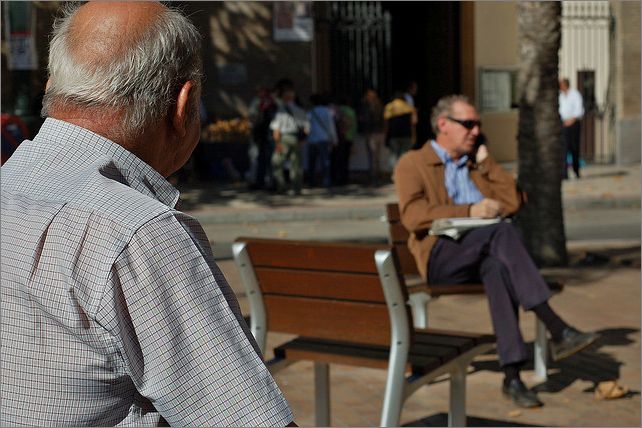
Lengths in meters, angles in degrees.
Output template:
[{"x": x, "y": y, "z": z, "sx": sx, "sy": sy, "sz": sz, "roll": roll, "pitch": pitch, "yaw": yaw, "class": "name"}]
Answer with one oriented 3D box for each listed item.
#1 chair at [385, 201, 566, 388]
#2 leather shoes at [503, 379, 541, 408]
[{"x": 1.172, "y": 0.555, "z": 7.769, "sx": 1.268, "sy": 1.777, "sz": 1.161, "roll": -2, "pitch": 2, "yaw": 7, "class": "chair"}, {"x": 1.318, "y": 1.196, "z": 6.813, "sx": 0.275, "sy": 0.134, "sz": 0.136, "roll": 25, "pitch": 12, "yaw": 13, "class": "leather shoes"}]
